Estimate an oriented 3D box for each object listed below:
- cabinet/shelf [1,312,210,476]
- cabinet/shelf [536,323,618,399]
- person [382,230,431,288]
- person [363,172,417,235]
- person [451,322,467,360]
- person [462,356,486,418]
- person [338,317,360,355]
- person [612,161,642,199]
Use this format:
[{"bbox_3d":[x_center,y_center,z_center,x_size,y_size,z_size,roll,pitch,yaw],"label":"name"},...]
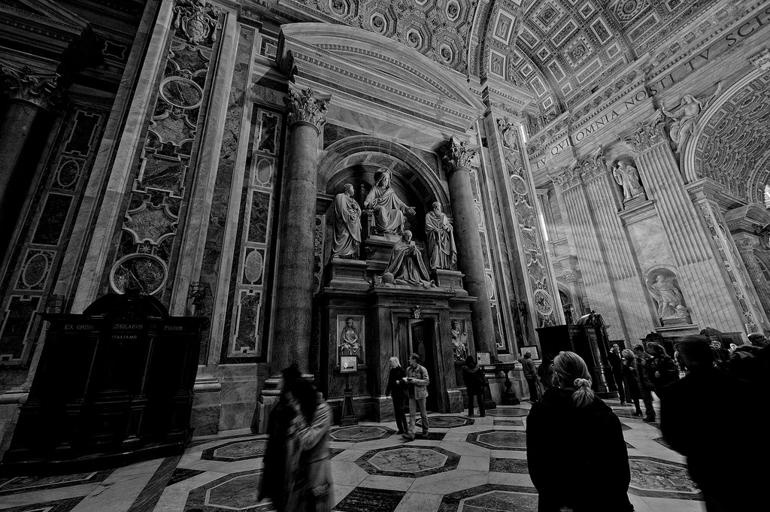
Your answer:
[{"bbox_3d":[-5.064,2.528,7.538,2.347,1.916,1.176,6,-25,-23],"label":"cabinet/shelf"},{"bbox_3d":[5.679,3.029,11.913,2.384,2.048,1.345,11,-22,-39],"label":"cabinet/shelf"},{"bbox_3d":[0.524,0.106,11.073,1.234,1.309,0.540,15,-40,-17],"label":"person"},{"bbox_3d":[-0.008,-1.517,11.846,1.170,1.967,0.274,3,-19,-14],"label":"person"},{"bbox_3d":[1.940,2.172,10.821,0.437,0.999,0.123,9,-21,-29],"label":"person"},{"bbox_3d":[2.050,2.942,9.453,0.435,1.287,0.838,-5,-19,9],"label":"person"},{"bbox_3d":[-0.822,1.895,9.957,0.592,0.888,0.135,10,-22,-31],"label":"person"},{"bbox_3d":[10.292,-3.272,17.728,0.382,2.020,1.027,6,-20,-22],"label":"person"}]
